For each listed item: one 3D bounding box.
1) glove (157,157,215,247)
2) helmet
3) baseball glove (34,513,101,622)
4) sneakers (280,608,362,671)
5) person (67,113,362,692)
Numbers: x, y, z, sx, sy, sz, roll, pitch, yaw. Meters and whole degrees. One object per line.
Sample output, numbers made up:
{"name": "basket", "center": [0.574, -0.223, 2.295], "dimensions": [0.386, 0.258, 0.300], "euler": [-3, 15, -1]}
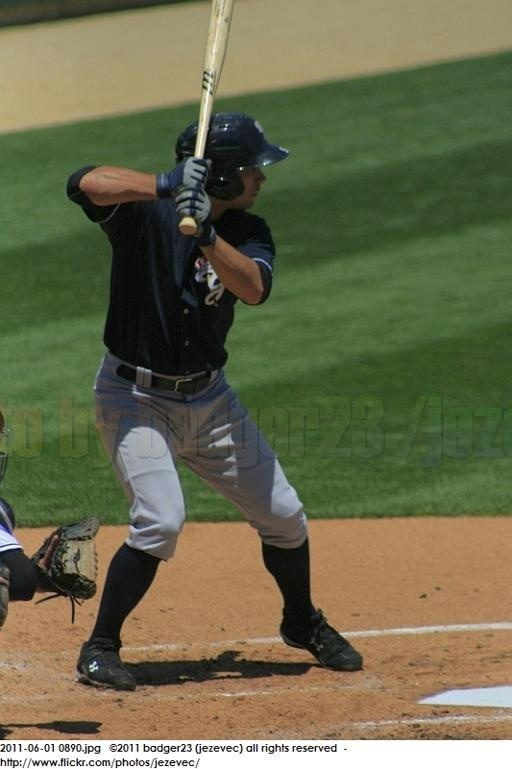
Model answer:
{"name": "glove", "center": [-0.221, -0.644, 4.781], "dimensions": [0.210, 0.296, 0.223], "euler": [-5, 15, -22]}
{"name": "helmet", "center": [-0.059, -0.882, 5.155], "dimensions": [0.443, 0.322, 0.329], "euler": [-9, 29, -15]}
{"name": "baseball glove", "center": [-0.712, 0.659, 5.151], "dimensions": [0.239, 0.297, 0.136], "euler": [6, -16, -34]}
{"name": "sneakers", "center": [0.264, 0.996, 5.434], "dimensions": [0.395, 0.161, 0.141], "euler": [17, 29, 34]}
{"name": "person", "center": [-0.191, 0.079, 5.103], "dimensions": [1.012, 2.139, 0.565], "euler": [-2, 14, -10]}
